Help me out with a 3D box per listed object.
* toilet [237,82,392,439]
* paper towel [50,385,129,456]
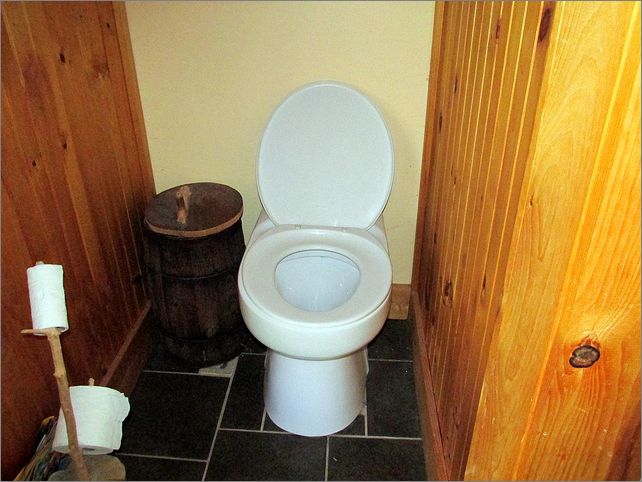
[{"bbox_3d":[-0.014,0.078,1.475,0.429,0.888,0.553,3,34,3],"label":"toilet"},{"bbox_3d":[-0.495,0.392,1.096,0.127,0.108,0.144,2,58,-11],"label":"paper towel"}]
